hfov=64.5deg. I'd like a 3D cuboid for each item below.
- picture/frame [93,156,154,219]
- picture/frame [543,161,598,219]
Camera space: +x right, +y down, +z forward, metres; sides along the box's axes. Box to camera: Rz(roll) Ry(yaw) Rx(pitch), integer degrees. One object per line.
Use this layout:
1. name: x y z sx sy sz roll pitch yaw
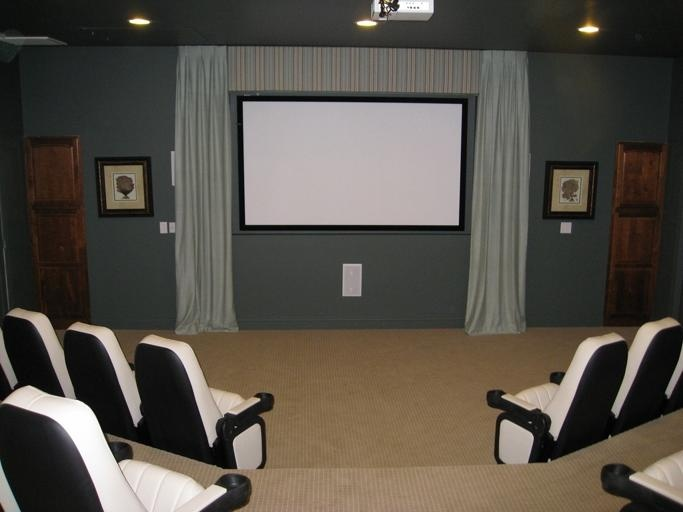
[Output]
1. picture/frame: -2.369 -0.750 5.862 0.499 0.661 0.035 -3 -19 -24
2. picture/frame: 2.585 -0.738 6.057 0.482 0.650 0.032 3 -18 25
